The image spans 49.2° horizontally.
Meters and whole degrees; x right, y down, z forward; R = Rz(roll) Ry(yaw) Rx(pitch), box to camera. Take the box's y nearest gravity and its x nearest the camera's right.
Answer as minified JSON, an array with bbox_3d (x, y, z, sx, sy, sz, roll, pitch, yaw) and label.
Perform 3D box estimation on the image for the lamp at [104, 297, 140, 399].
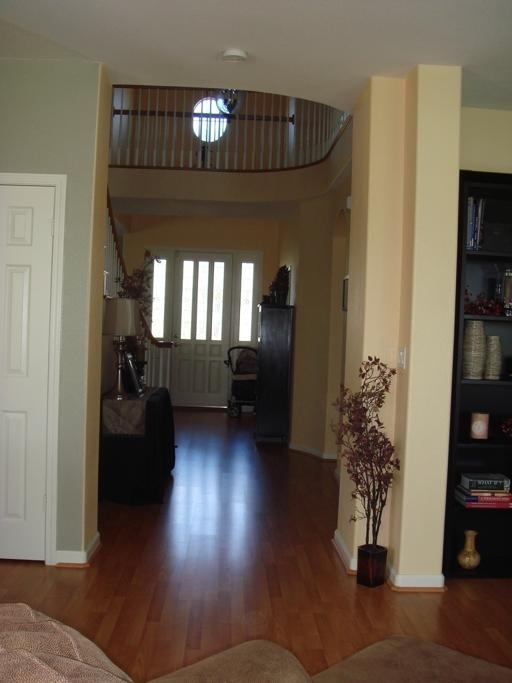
[{"bbox_3d":[-1.061,0.045,4.447,0.304,0.792,0.544,1,0,-14],"label":"lamp"}]

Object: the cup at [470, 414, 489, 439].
[{"bbox_3d":[1.352,0.496,3.339,0.088,0.143,0.236,2,0,44],"label":"cup"}]

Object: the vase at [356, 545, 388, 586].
[{"bbox_3d":[0.630,1.233,3.064,0.132,0.184,0.138,7,-7,-30],"label":"vase"}]

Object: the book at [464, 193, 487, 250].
[{"bbox_3d":[1.265,-0.685,3.232,0.141,0.431,0.104,-1,0,4],"label":"book"}]

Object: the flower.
[{"bbox_3d":[0.632,0.620,3.181,0.359,1.012,0.492,1,0,14],"label":"flower"}]

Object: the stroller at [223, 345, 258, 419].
[{"bbox_3d":[-0.184,0.489,7.912,0.419,0.996,0.605,0,-4,0],"label":"stroller"}]
